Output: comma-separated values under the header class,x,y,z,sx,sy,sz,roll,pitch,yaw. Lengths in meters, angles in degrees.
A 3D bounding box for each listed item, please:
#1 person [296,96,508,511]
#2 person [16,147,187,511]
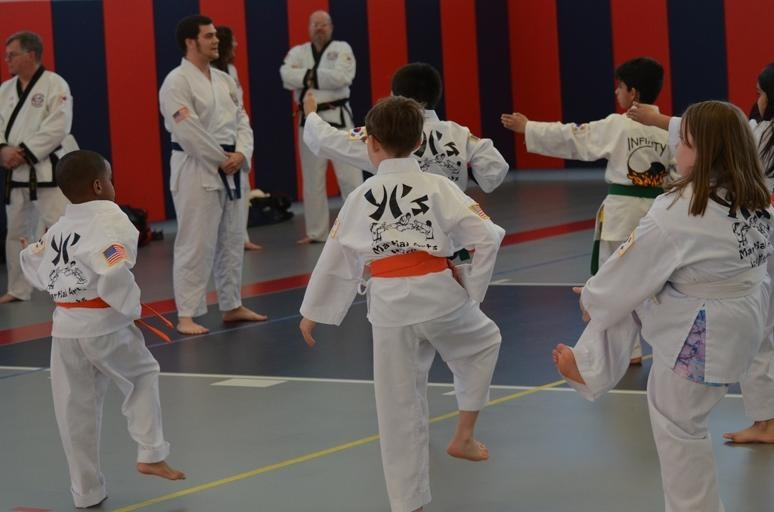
class,x,y,z,sx,sy,sz,roll,pitch,yaw
person,0.066,0.179,3.406,0.705,1.716,0.661,-15,19,-42
person,-1.285,0.421,3.442,0.645,1.316,0.408,-4,14,-4
